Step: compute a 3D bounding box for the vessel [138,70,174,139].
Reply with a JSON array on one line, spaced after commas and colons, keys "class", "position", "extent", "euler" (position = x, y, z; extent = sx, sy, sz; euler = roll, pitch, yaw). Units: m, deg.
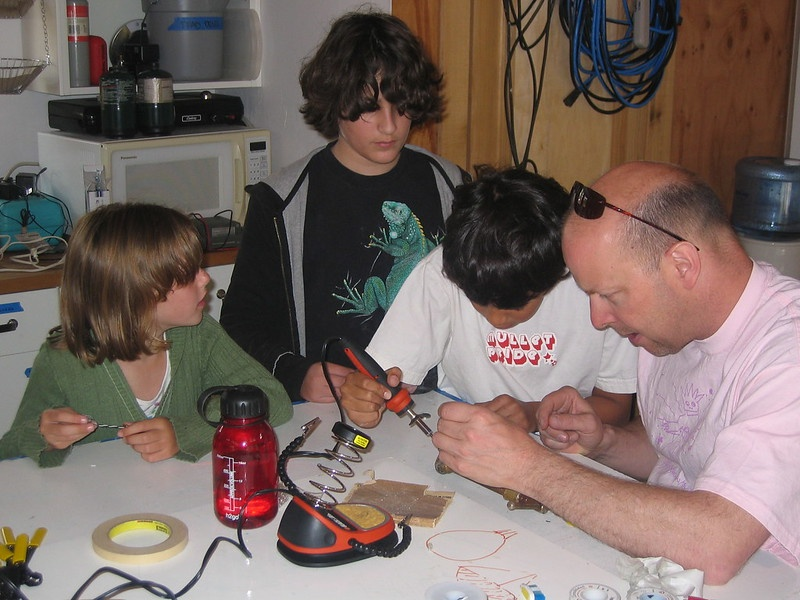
[{"class": "vessel", "position": [-1.065, -0.883, 3.052], "extent": [0.156, 0.301, 0.162], "euler": [-2, 20, -9]}]

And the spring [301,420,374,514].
[{"class": "spring", "position": [-0.132, 0.338, 1.452], "extent": [0.103, 0.177, 0.108], "euler": [22, 0, 37]}]

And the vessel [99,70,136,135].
[{"class": "vessel", "position": [-1.188, -0.829, 2.946], "extent": [0.157, 0.266, 0.075], "euler": [-11, 18, -23]}]

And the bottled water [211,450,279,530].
[{"class": "bottled water", "position": [-0.290, 0.364, 1.362], "extent": [0.131, 0.165, 0.139], "euler": [0, -12, -2]}]

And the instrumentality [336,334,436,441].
[{"class": "instrumentality", "position": [-0.031, 0.221, 1.735], "extent": [0.277, 0.059, 0.066], "euler": [43, 14, 7]}]

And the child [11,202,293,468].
[{"class": "child", "position": [-0.653, 0.103, 1.843], "extent": [0.429, 0.778, 0.584], "euler": [16, 22, 35]}]

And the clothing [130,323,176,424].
[{"class": "clothing", "position": [-0.632, 0.205, 1.781], "extent": [0.125, 0.196, 0.046], "euler": [-3, -10, 4]}]

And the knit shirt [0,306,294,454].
[{"class": "knit shirt", "position": [-0.655, 0.221, 1.745], "extent": [0.585, 0.375, 0.350], "euler": [-5, 13, -20]}]

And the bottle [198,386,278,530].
[{"class": "bottle", "position": [-0.313, 0.304, 1.386], "extent": [0.137, 0.274, 0.130], "euler": [3, 10, -1]}]

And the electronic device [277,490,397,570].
[{"class": "electronic device", "position": [-0.116, 0.427, 1.332], "extent": [0.234, 0.108, 0.173], "euler": [-1, 9, -37]}]
